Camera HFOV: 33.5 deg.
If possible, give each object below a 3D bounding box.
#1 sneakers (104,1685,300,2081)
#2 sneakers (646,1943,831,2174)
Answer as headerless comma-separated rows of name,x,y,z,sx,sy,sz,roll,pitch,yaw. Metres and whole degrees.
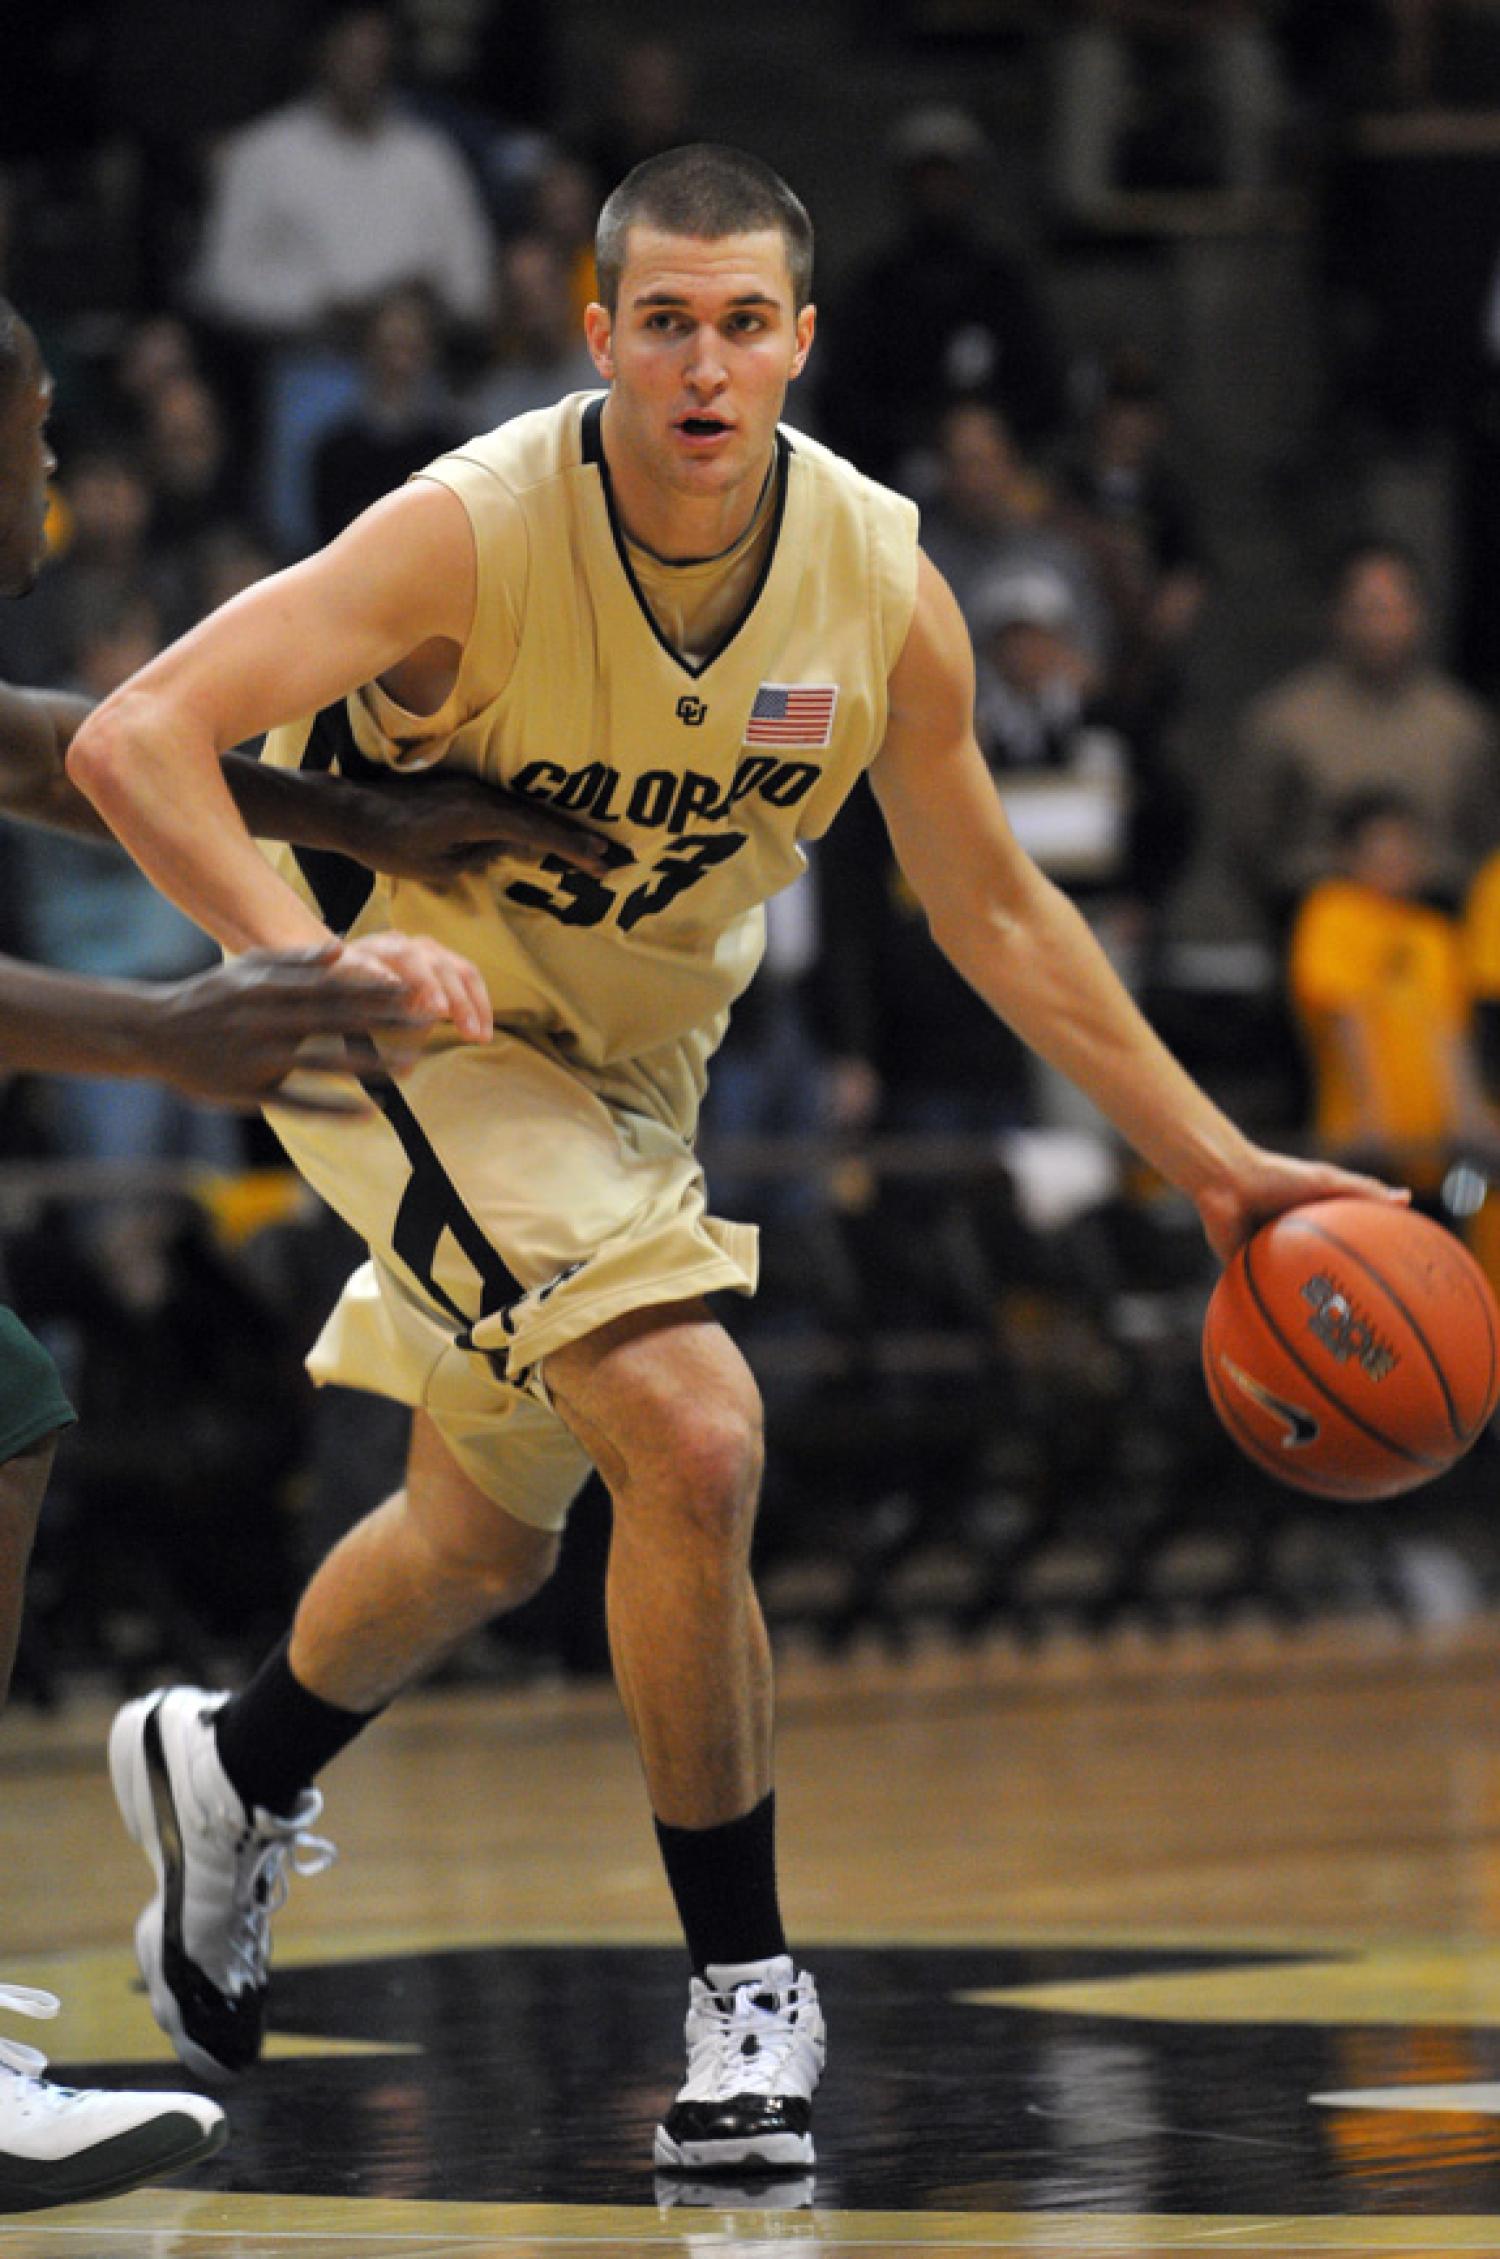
sneakers,-0.530,0.706,2.333,0.187,0.349,0.132,-20,-14,20
sneakers,-0.018,0.678,1.770,0.077,0.080,0.188,-1,-7,3
